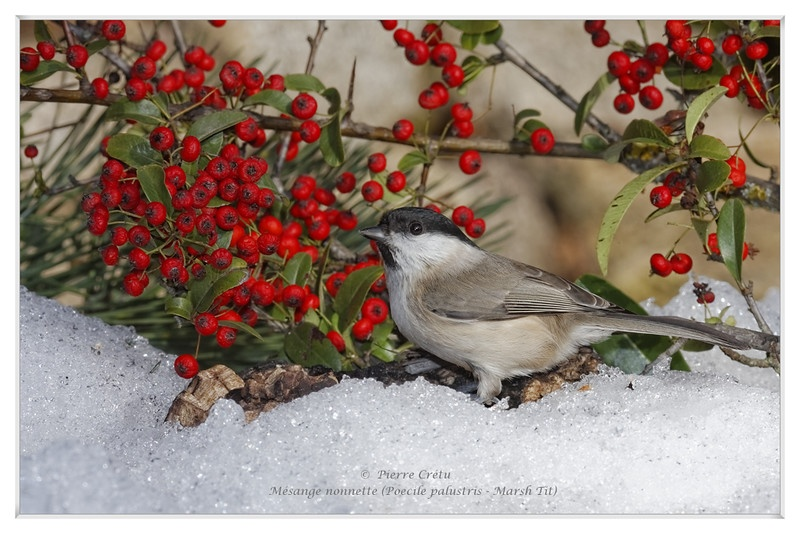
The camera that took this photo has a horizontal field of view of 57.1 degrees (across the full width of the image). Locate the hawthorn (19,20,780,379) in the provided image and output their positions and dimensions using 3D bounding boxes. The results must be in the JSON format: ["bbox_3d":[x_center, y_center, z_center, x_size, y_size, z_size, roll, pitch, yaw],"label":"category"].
[{"bbox_3d":[-0.073,-0.217,3.567,2.916,1.190,1.760,-1,39,-6],"label":"hawthorn"}]
